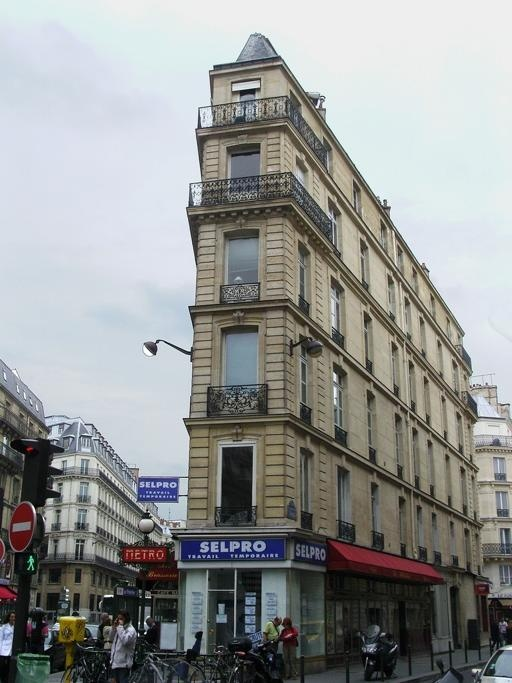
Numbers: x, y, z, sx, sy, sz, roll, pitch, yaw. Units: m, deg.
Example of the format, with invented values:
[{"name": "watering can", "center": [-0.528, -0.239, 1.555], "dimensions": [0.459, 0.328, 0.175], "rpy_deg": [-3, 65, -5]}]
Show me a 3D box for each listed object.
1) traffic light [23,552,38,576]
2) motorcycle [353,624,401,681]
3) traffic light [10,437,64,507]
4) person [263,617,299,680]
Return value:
[{"name": "traffic light", "center": [-1.861, 1.846, 5.769], "dimensions": [0.087, 0.176, 0.345], "rpy_deg": [5, -22, -11]}, {"name": "motorcycle", "center": [3.039, 7.720, 17.327], "dimensions": [0.718, 1.193, 1.546], "rpy_deg": [-6, -22, 18]}, {"name": "traffic light", "center": [-1.910, 1.121, 5.987], "dimensions": [0.315, 0.648, 0.554], "rpy_deg": [10, -23, -23]}, {"name": "person", "center": [0.783, 7.477, 17.070], "dimensions": [0.893, 1.246, 1.965], "rpy_deg": [0, -24, -3]}]
